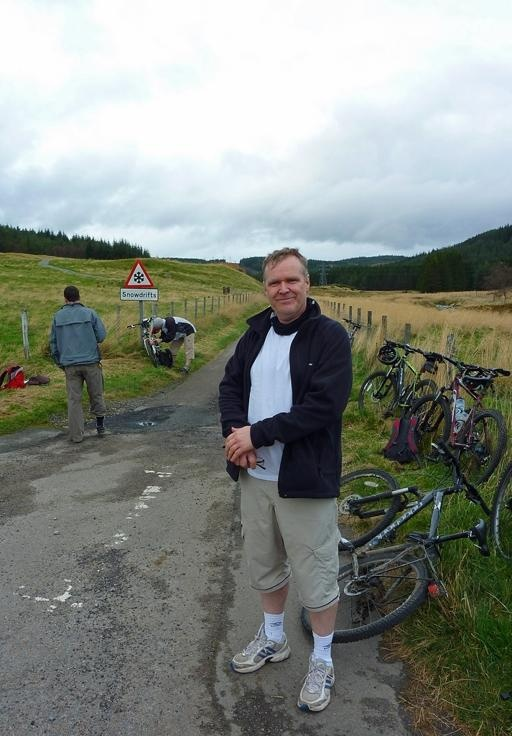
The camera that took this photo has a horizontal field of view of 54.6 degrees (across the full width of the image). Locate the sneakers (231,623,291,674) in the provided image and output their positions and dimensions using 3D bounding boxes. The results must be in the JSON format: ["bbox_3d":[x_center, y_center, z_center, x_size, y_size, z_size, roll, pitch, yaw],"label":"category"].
[{"bbox_3d":[0.026,1.421,2.469,0.348,0.215,0.127,13,-29,-32],"label":"sneakers"}]

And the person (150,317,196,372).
[{"bbox_3d":[-2.050,-0.676,12.472,1.115,1.459,0.723,-11,12,-3],"label":"person"}]

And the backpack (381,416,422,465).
[{"bbox_3d":[1.700,0.822,5.661,0.408,0.212,0.634,-3,36,34],"label":"backpack"}]

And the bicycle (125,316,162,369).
[{"bbox_3d":[-2.691,-0.668,12.670,0.942,1.261,2.128,-15,11,-16],"label":"bicycle"}]

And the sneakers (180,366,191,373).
[{"bbox_3d":[-1.741,0.030,12.115,0.193,0.147,0.252,0,7,-8],"label":"sneakers"}]

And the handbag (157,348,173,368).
[{"bbox_3d":[-2.162,-0.233,11.853,0.314,0.452,0.149,32,55,24],"label":"handbag"}]

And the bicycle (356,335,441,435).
[{"bbox_3d":[2.397,0.242,7.987,2.152,1.250,0.850,9,8,-39],"label":"bicycle"}]

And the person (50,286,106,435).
[{"bbox_3d":[-2.397,-0.104,6.711,0.701,2.024,1.019,-3,8,-22],"label":"person"}]

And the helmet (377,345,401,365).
[{"bbox_3d":[2.194,-0.215,8.037,0.264,0.361,0.114,-12,-27,42],"label":"helmet"}]

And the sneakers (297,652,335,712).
[{"bbox_3d":[0.276,1.424,2.231,0.119,0.167,0.190,4,8,22],"label":"sneakers"}]

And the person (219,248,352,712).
[{"bbox_3d":[0.139,0.471,2.396,0.713,2.079,0.525,7,10,37],"label":"person"}]
